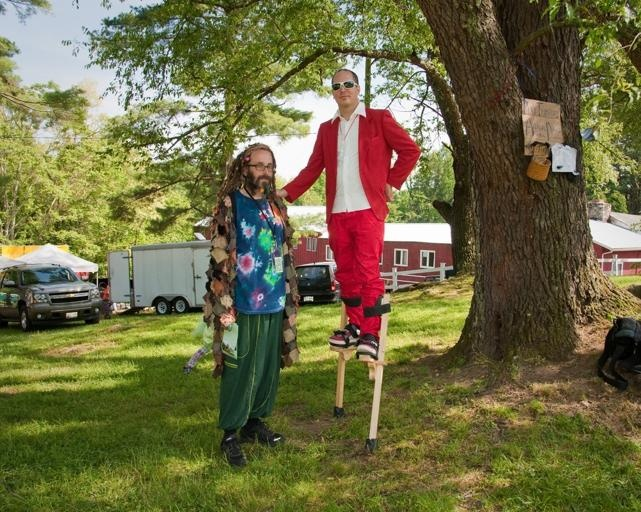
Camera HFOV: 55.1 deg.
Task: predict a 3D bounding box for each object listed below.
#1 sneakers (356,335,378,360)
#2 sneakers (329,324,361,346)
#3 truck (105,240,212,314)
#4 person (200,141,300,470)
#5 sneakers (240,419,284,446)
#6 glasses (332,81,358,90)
[{"bbox_3d":[0.442,0.841,5.720,0.237,0.208,0.222,-5,8,-6],"label":"sneakers"},{"bbox_3d":[0.230,0.783,5.949,0.139,0.163,0.318,-2,-5,40],"label":"sneakers"},{"bbox_3d":[-5.301,0.730,20.853,3.425,2.358,2.102,-4,6,-19],"label":"truck"},{"bbox_3d":[-0.622,0.386,5.681,0.929,2.794,0.520,-10,10,-37],"label":"person"},{"bbox_3d":[-0.563,1.662,5.866,0.469,0.238,0.178,1,-1,14],"label":"sneakers"},{"bbox_3d":[0.234,-1.654,6.015,0.254,0.089,0.144,-3,8,6],"label":"glasses"}]
